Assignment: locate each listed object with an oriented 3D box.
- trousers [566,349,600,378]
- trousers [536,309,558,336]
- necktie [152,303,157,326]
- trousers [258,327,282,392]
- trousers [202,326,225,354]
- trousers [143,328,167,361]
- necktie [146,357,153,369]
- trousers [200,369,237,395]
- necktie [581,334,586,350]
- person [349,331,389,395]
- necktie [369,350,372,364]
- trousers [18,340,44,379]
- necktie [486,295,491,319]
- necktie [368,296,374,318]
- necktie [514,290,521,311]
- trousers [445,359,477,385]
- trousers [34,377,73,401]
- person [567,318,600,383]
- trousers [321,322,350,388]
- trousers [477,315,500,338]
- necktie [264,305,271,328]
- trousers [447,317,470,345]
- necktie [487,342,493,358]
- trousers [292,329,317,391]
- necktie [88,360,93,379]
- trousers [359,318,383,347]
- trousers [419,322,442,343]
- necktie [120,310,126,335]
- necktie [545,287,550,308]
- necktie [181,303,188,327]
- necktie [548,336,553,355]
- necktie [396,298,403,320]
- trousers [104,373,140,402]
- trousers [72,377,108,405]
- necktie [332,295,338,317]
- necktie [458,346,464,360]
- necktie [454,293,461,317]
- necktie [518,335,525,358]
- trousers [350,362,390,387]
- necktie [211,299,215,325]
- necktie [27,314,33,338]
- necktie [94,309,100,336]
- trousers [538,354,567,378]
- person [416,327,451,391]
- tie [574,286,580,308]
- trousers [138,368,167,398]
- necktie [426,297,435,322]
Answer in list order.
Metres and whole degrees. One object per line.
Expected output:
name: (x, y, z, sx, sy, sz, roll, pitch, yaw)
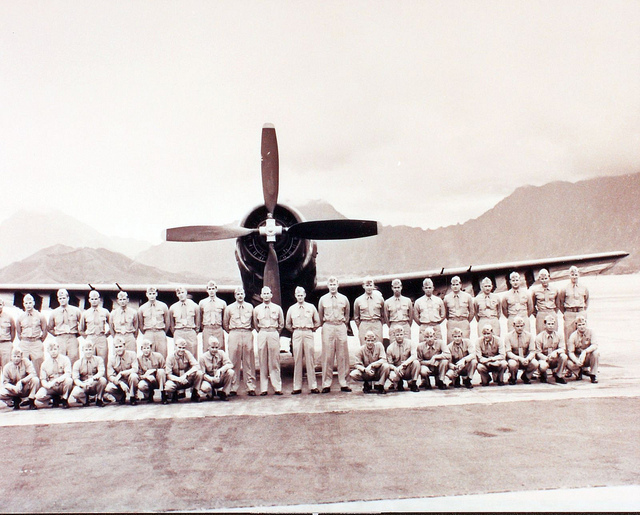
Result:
trousers: (6.678, 2.758, 18.124, 0.637, 0.645, 0.829, -10, -38, 18)
trousers: (5.810, 1.757, 18.356, 0.484, 0.657, 0.982, -1, 6, 12)
necktie: (-4.214, 1.487, 18.186, 0.111, 0.489, 0.158, -3, 6, -13)
trousers: (-1.277, 2.602, 17.934, 0.536, 1.632, 0.347, -3, 6, -9)
trousers: (-2.713, 2.125, 18.191, 0.546, 0.659, 0.478, -3, 6, -10)
trousers: (-4.155, 2.190, 18.039, 0.573, 0.695, 0.436, -4, 6, -15)
necktie: (-4.154, 2.632, 17.474, 0.111, 0.273, 0.030, -2, 6, 2)
trousers: (-2.484, 3.134, 17.560, 0.875, 0.573, 0.577, 0, -13, -24)
necktie: (6.608, 2.167, 18.001, 0.106, 0.391, 0.052, -2, 6, -3)
person: (1.297, 2.628, 17.786, 0.926, 1.456, 0.796, -5, 1, 24)
necktie: (1.240, 2.499, 17.721, 0.066, 0.307, 0.030, -2, 6, 4)
trousers: (-7.301, 2.629, 18.132, 0.586, 1.004, 0.531, -4, 6, -22)
necktie: (4.316, 1.308, 18.415, 0.110, 0.566, 0.072, 0, 6, 16)
necktie: (1.265, 1.299, 18.088, 0.115, 0.478, 0.134, -5, 6, -26)
necktie: (5.090, 1.143, 18.527, 0.124, 0.508, 0.112, -1, 6, 11)
trousers: (3.482, 2.882, 17.753, 0.780, 0.656, 0.315, -1, 6, 11)
trousers: (-6.395, 3.271, 17.350, 0.819, 0.514, 0.521, -5, -1, -7)
person: (6.570, 2.336, 17.934, 0.736, 1.579, 0.582, 0, 6, 20)
trousers: (0.359, 2.397, 18.076, 0.618, 1.810, 0.577, 0, -4, -4)
trousers: (4.276, 1.796, 18.191, 0.470, 0.695, 0.270, 1, -33, 5)
necktie: (-1.322, 1.512, 17.909, 0.157, 0.507, 0.182, -2, 6, 1)
trousers: (3.503, 1.888, 18.134, 0.578, 0.863, 0.353, -2, -18, 9)
necktie: (4.219, 2.350, 17.810, 0.148, 0.339, 0.050, -5, 7, -28)
trousers: (-0.415, 2.630, 18.005, 0.539, 1.585, 0.376, -2, 6, -2)
necktie: (-5.619, 2.761, 17.467, 0.111, 0.421, 0.160, -3, 6, -13)
trousers: (1.244, 1.926, 17.934, 0.565, 0.812, 0.338, 3, -40, 2)
trousers: (2.810, 1.900, 18.130, 0.628, 0.475, 0.898, -3, 14, 5)
necktie: (-4.987, 1.681, 18.100, 0.140, 0.599, 0.145, -4, 6, -16)
necktie: (5.892, 1.085, 18.653, 0.093, 0.472, 0.150, 0, 6, 18)
necktie: (-3.456, 1.506, 18.206, 0.141, 0.497, 0.131, -3, 6, -13)
necktie: (5.748, 2.232, 17.926, 0.104, 0.430, 0.039, 0, 6, 15)
necktie: (1.990, 1.384, 18.132, 0.170, 0.450, 0.099, 1, 7, 30)
trousers: (-4.729, 3.207, 17.645, 0.697, 0.723, 0.246, -18, -31, 5)
trousers: (-5.571, 3.287, 17.395, 0.762, 0.546, 0.600, 0, -2, -24)
necktie: (0.371, 1.265, 17.955, 0.114, 0.520, 0.140, -2, 6, 0)
necktie: (3.499, 2.425, 17.849, 0.137, 0.305, 0.037, -2, 6, 4)
necktie: (3.507, 1.269, 18.354, 0.144, 0.547, 0.143, -2, 6, 4)
necktie: (5.009, 2.259, 17.909, 0.135, 0.541, 0.081, 0, 6, 15)
trousers: (1.276, 2.971, 17.658, 0.904, 0.530, 0.541, -16, -27, 3)
necktie: (-2.741, 1.429, 18.225, 0.091, 0.594, 0.119, -3, 6, -10)
necktie: (-7.348, 1.769, 18.126, 0.128, 0.564, 0.092, -3, 6, -12)
necktie: (-5.678, 1.690, 18.209, 0.120, 0.604, 0.172, -4, 6, -19)
trousers: (5.825, 2.758, 17.920, 0.563, 0.413, 0.602, -5, -16, 14)
person: (2.800, 2.553, 17.765, 0.841, 1.545, 0.481, -1, 6, 11)
tie: (6.604, 1.067, 18.470, 0.125, 0.485, 0.151, 0, 6, 16)
trousers: (-4.077, 3.132, 17.409, 0.734, 0.569, 0.587, 0, 22, 0)
necktie: (2.795, 1.367, 18.248, 0.142, 0.552, 0.202, -4, 6, -15)
